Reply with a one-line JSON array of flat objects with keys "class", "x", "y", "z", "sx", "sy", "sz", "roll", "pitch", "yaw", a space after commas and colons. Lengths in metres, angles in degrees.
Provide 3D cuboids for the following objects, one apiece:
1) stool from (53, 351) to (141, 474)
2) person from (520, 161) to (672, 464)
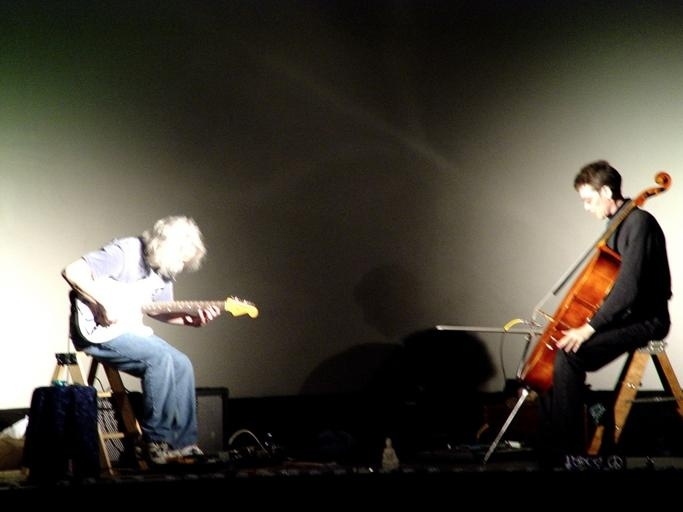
[{"class": "stool", "x": -1.615, "y": 1.015, "z": 4.203, "sx": 0.658, "sy": 0.748, "sz": 0.314, "roll": -2, "pitch": -6, "yaw": 27}, {"class": "person", "x": 1.770, "y": 0.375, "z": 4.473, "sx": 0.974, "sy": 1.918, "sz": 0.856, "roll": 1, "pitch": 10, "yaw": 36}]
